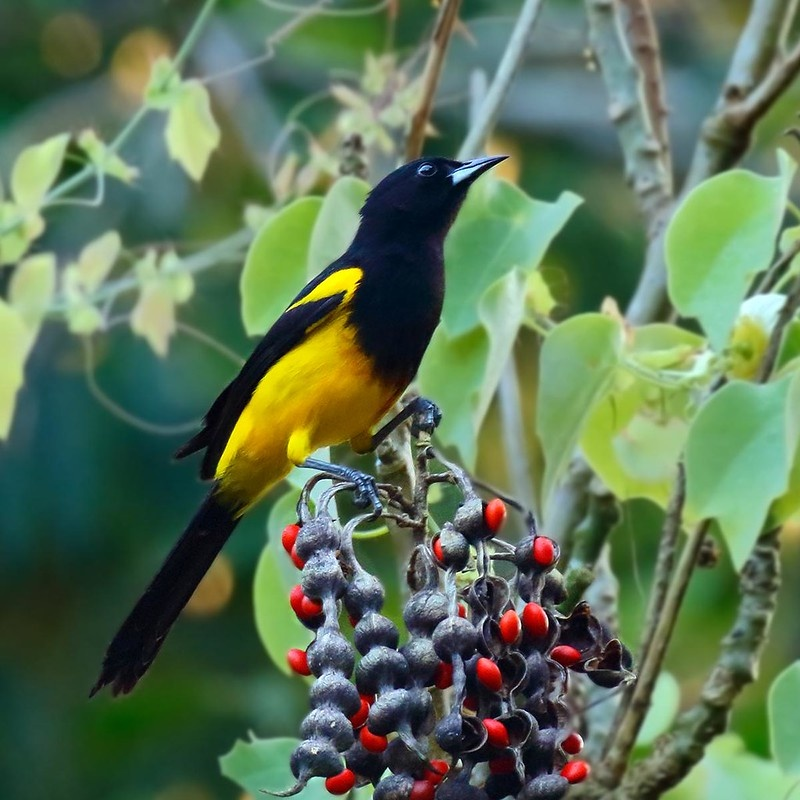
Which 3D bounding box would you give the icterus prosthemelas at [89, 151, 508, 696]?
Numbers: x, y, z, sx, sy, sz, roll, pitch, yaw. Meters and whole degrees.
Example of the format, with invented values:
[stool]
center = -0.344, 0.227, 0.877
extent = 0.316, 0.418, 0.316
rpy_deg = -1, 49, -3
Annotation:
[icterus prosthemelas]
center = -0.180, 0.023, 2.051
extent = 0.216, 0.831, 0.505
rpy_deg = 29, 41, -45
